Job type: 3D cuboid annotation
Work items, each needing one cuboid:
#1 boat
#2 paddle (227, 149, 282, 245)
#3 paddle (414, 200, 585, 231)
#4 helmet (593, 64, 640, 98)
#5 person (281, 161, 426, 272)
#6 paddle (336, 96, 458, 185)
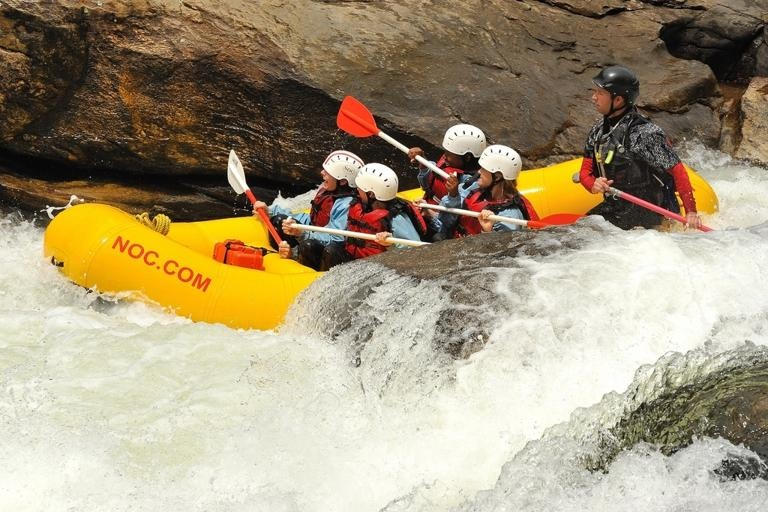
[{"bbox_3d":[-0.397,0.104,9.525,5.474,0.926,2.409,-3,18,-13],"label":"boat"},{"bbox_3d":[-1.381,-0.659,10.793,1.347,0.213,0.195,50,10,18],"label":"paddle"},{"bbox_3d":[1.042,-0.460,9.760,1.501,0.436,0.118,10,53,18],"label":"paddle"},{"bbox_3d":[2.258,-1.755,9.930,0.414,0.258,0.289,11,27,-7],"label":"helmet"},{"bbox_3d":[-0.233,-0.478,9.843,1.482,0.978,0.919,3,27,-4],"label":"person"},{"bbox_3d":[0.119,-1.225,11.386,0.454,0.082,2.006,-10,-26,37],"label":"paddle"}]
